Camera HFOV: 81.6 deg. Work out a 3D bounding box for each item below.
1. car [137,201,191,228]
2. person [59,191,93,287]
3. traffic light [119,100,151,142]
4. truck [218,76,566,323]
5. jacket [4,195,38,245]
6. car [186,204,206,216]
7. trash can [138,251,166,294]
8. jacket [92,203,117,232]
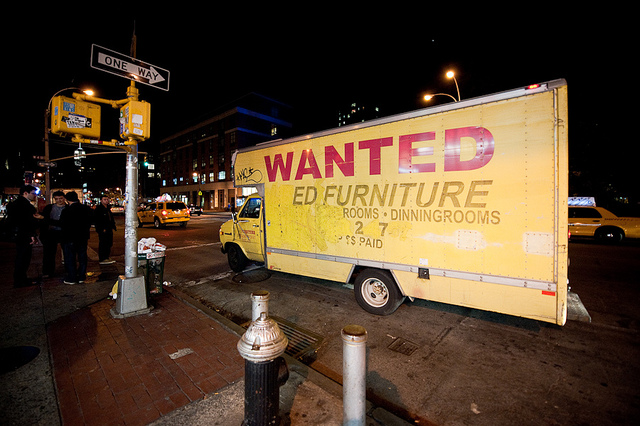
[{"bbox_3d":[-10.115,0.114,24.208,2.826,1.219,1.590,6,6,40],"label":"car"},{"bbox_3d":[-6.667,0.654,10.174,0.595,2.581,0.803,6,11,32],"label":"person"},{"bbox_3d":[-4.203,-2.091,8.524,0.637,0.948,0.538,-4,-3,32],"label":"traffic light"},{"bbox_3d":[1.285,-0.008,11.005,10.353,4.926,3.259,1,3,41],"label":"truck"},{"bbox_3d":[-7.943,0.221,9.960,0.535,1.655,0.688,-1,3,-23],"label":"jacket"},{"bbox_3d":[-13.909,-0.373,42.087,1.238,0.971,2.763,0,7,-10],"label":"car"},{"bbox_3d":[-4.352,1.427,9.362,0.831,1.066,0.827,2,-1,-6],"label":"trash can"},{"bbox_3d":[-7.443,0.156,12.839,0.384,0.915,1.225,-2,10,-11],"label":"jacket"}]
